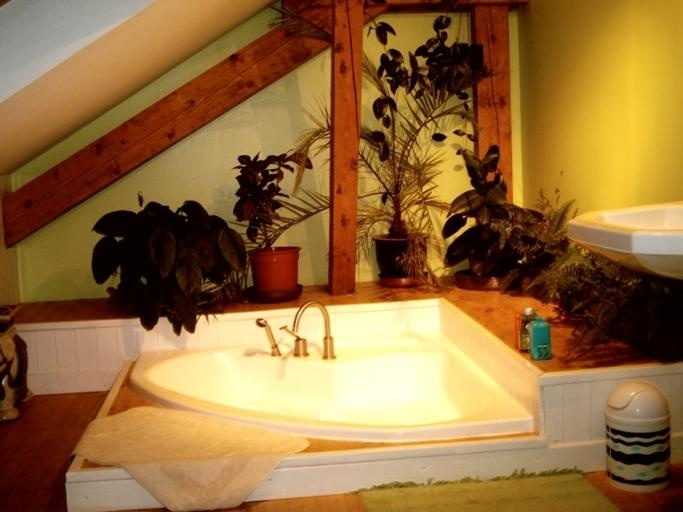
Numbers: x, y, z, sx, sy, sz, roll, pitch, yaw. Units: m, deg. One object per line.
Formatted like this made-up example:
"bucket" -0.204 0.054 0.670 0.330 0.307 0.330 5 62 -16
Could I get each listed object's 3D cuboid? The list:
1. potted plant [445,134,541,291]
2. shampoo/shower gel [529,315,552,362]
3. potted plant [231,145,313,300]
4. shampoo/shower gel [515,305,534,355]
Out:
"potted plant" 0.944 -0.235 3.239 0.437 0.903 0.653 -8 9 -22
"shampoo/shower gel" 0.848 0.344 2.229 0.088 0.171 0.132 -2 9 21
"potted plant" -0.484 -0.207 3.476 0.435 0.937 0.582 -6 8 -10
"shampoo/shower gel" 0.802 0.333 2.325 0.101 0.181 0.103 -1 -5 -5
